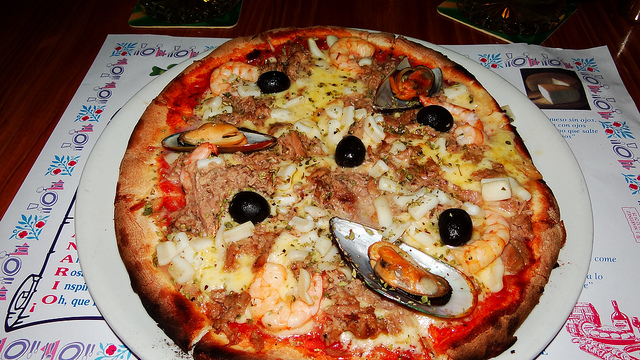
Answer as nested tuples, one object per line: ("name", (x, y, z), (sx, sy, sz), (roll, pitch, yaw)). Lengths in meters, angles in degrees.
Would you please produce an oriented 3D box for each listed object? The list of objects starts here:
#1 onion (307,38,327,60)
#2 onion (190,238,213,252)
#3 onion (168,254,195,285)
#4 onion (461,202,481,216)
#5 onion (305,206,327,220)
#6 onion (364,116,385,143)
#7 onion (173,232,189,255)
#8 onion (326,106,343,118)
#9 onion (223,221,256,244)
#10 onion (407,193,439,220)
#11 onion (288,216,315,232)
("onion", (-0.067, -2.012, 7.638), (0.198, 0.099, 0.366), (-6, 66, 0))
("onion", (-1.536, 0.832, 6.348), (0.264, 0.060, 0.189), (-30, 82, -4))
("onion", (-1.803, 1.162, 6.263), (0.280, 0.116, 0.374), (-45, 83, -6))
("onion", (2.001, 0.388, 6.450), (0.262, 0.082, 0.160), (7, 81, 2))
("onion", (-0.056, 0.450, 6.506), (0.301, 0.055, 0.165), (13, 81, 3))
("onion", (0.758, -0.701, 6.878), (0.237, 0.119, 0.355), (-37, 74, -1))
("onion", (-1.791, 0.806, 6.407), (0.239, 0.088, 0.220), (-43, 69, 7))
("onion", (0.215, -0.965, 6.996), (0.177, 0.077, 0.167), (-35, 72, -7))
("onion", (-1.052, 0.699, 6.345), (0.413, 0.068, 0.193), (-23, 82, -3))
("onion", (1.361, 0.336, 6.406), (0.379, 0.115, 0.272), (-43, 54, 1))
("onion", (-0.244, 0.590, 6.411), (0.316, 0.079, 0.193), (22, 82, 4))
